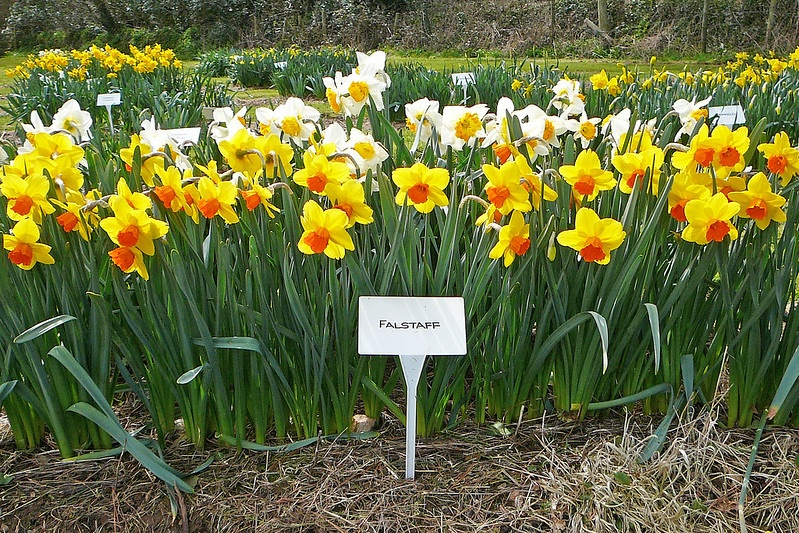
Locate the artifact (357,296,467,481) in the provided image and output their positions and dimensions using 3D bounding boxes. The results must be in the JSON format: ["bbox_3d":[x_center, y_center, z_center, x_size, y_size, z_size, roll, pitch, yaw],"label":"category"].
[{"bbox_3d":[0.049,0.438,2.281,0.374,0.669,0.156,-1,22,2],"label":"artifact"}]
